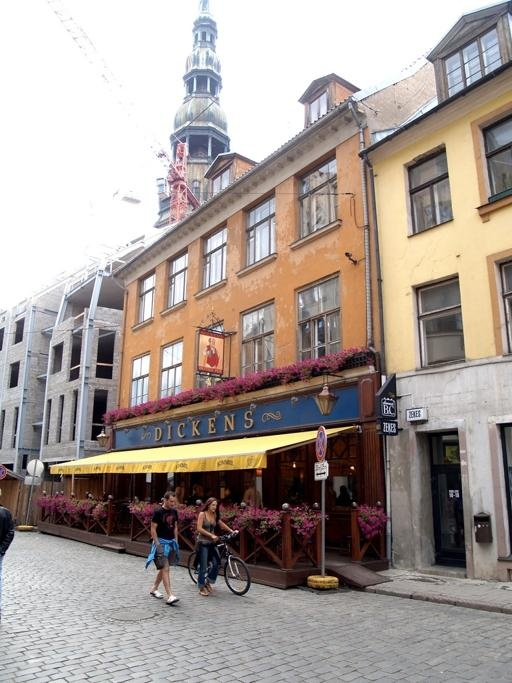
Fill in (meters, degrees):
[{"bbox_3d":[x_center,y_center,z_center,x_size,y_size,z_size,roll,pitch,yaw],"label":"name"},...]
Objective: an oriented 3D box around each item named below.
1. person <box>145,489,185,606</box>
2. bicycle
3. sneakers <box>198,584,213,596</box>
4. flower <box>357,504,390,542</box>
[{"bbox_3d":[-1.431,3.160,8.277,0.471,1.592,1.558,2,-15,-11],"label":"person"},{"bbox_3d":[-0.673,3.833,9.238,0.656,0.910,1.516,3,-11,-45],"label":"bicycle"},{"bbox_3d":[-0.812,3.991,8.560,0.086,0.117,0.285,6,-23,-22],"label":"sneakers"},{"bbox_3d":[2.361,3.599,10.895,0.711,0.569,0.781,2,-8,-12],"label":"flower"}]
